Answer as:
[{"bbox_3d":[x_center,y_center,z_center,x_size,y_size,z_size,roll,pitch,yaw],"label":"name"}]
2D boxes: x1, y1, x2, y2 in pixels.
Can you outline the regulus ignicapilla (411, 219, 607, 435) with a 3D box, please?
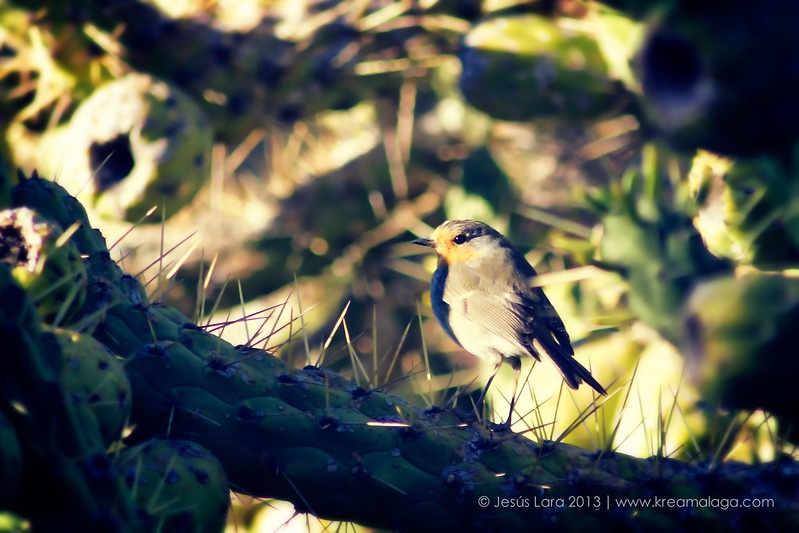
[{"bbox_3d":[0.467,0.221,4.959,0.931,0.777,0.416,5,-6,39],"label":"regulus ignicapilla"}]
